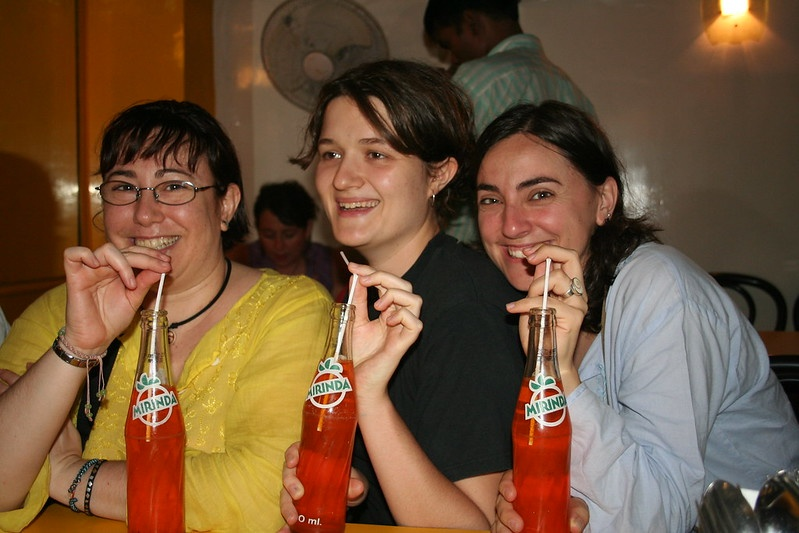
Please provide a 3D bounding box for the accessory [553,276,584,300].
[{"bbox_3d":[0.501,0.062,1.990,0.092,0.068,0.059,2,-4,12],"label":"accessory"}]

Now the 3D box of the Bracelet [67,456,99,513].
[{"bbox_3d":[-0.943,0.653,2.005,0.039,0.123,0.106,20,-33,-5],"label":"Bracelet"}]

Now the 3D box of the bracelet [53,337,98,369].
[{"bbox_3d":[-0.984,0.259,2.030,0.138,0.093,0.041,4,-4,-21],"label":"bracelet"}]
